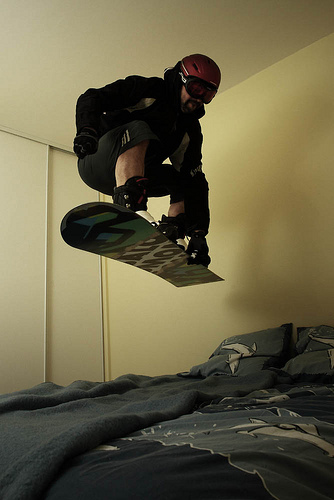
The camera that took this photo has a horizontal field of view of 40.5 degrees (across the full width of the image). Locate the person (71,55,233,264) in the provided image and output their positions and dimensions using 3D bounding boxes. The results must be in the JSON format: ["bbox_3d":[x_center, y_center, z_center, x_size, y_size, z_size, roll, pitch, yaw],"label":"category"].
[{"bbox_3d":[-0.116,-0.426,2.090,0.733,0.880,0.684,15,-25,-28],"label":"person"}]

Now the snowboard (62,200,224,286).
[{"bbox_3d":[-0.132,-0.007,2.128,0.448,0.297,1.051,0,-3,24],"label":"snowboard"}]

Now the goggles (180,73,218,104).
[{"bbox_3d":[0.132,-0.693,1.970,0.103,0.055,0.127,4,34,-44],"label":"goggles"}]
